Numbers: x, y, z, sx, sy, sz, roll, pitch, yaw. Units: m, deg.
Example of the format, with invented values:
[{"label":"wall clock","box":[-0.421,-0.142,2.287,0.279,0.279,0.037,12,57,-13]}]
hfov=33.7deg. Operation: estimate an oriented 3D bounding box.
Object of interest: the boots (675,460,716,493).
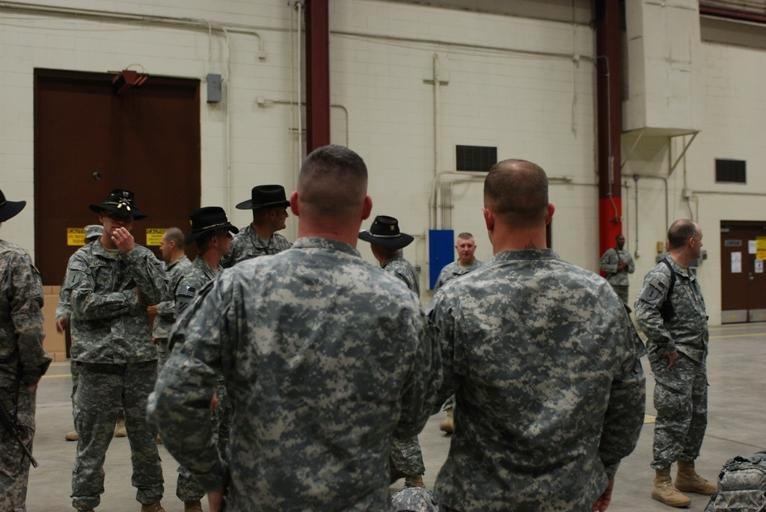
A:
[{"label":"boots","box":[4.387,3.114,17.806,0.589,0.601,0.253,-1,-29,18]}]

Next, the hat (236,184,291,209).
[{"label":"hat","box":[-1.676,-0.790,17.409,0.512,0.199,0.460,-5,7,11]}]

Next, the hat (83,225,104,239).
[{"label":"hat","box":[-4.116,-0.337,17.864,0.300,0.172,0.261,8,-3,6]}]
